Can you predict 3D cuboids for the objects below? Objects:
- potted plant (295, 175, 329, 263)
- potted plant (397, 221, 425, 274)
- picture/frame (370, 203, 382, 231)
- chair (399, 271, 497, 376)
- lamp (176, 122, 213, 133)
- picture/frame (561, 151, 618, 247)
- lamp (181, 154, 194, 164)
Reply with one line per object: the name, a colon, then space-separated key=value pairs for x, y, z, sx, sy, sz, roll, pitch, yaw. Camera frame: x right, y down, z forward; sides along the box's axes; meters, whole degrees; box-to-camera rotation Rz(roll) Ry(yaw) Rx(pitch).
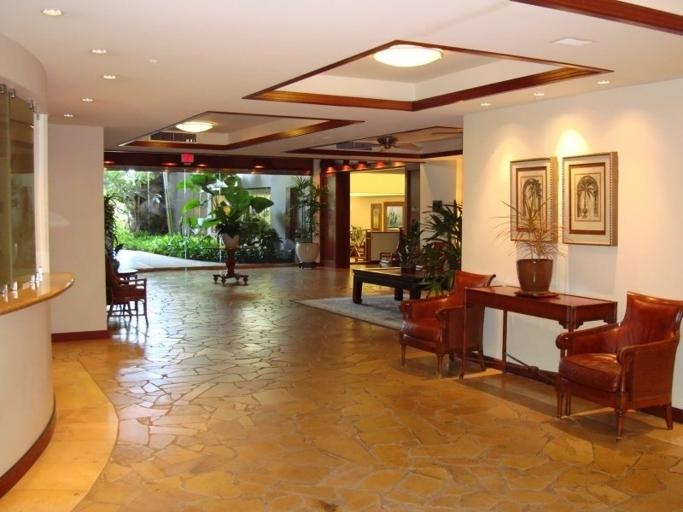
potted plant: x=-1.064 y=-1.196 z=16.393 sx=1.107 sy=2.969 sz=0.708 roll=-2 pitch=7 yaw=-15
potted plant: x=1.304 y=-0.176 z=9.629 sx=0.624 sy=0.951 sz=0.531 roll=8 pitch=0 yaw=-3
picture/frame: x=1.445 y=-1.672 z=20.084 sx=0.193 sy=1.080 sz=0.639 roll=-6 pitch=9 yaw=-41
chair: x=1.472 y=0.786 z=6.510 sx=1.460 sy=1.422 sz=1.283 roll=0 pitch=1 yaw=-33
lamp: x=-2.796 y=-2.491 z=9.198 sx=0.680 sy=0.118 sz=0.590 roll=0 pitch=6 yaw=-4
picture/frame: x=2.726 y=-0.632 z=5.339 sx=0.200 sy=0.965 sz=0.634 roll=-2 pitch=7 yaw=-19
lamp: x=-4.197 y=-2.692 z=13.190 sx=0.154 sy=0.210 sz=0.280 roll=-9 pitch=-5 yaw=37
